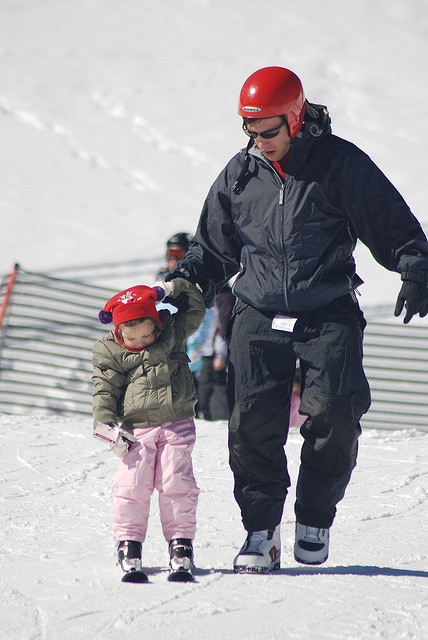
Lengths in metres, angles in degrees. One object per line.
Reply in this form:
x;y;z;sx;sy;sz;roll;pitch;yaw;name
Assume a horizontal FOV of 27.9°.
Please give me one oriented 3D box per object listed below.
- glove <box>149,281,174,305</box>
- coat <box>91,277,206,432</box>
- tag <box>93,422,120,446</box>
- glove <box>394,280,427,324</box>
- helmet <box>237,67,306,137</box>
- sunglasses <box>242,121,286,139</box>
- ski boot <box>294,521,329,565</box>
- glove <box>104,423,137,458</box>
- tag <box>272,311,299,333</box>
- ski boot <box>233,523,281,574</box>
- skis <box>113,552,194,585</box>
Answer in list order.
-0.199;-0.121;3.392;0.079;0.092;0.087;23;-40;-16;glove
-0.243;0.119;3.361;0.443;0.507;0.374;1;0;-6;coat
-0.391;0.417;3.182;0.090;0.073;0.075;1;0;-5;tag
0.707;-0.064;3.053;0.140;0.119;0.062;24;16;37;glove
0.211;-0.807;3.224;0.222;0.215;0.290;26;45;37;helmet
0.181;-0.693;3.132;0.107;0.028;0.103;13;36;37;sunglasses
0.360;0.834;3.203;0.127;0.149;0.107;1;0;6;ski boot
-0.333;0.457;3.235;0.136;0.091;0.050;28;2;-5;glove
0.260;0.002;3.188;0.083;0.070;0.057;1;0;27;tag
0.157;0.834;3.156;0.126;0.152;0.194;1;0;18;ski boot
-0.210;0.864;3.005;0.274;0.087;0.079;-6;-11;1;skis
